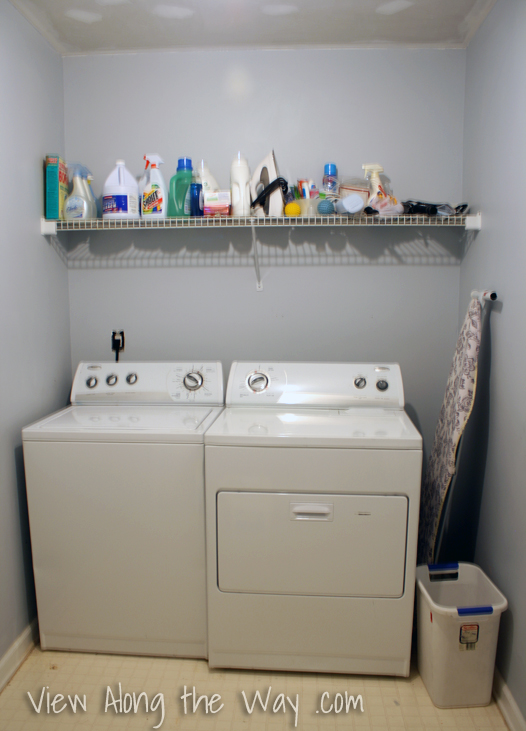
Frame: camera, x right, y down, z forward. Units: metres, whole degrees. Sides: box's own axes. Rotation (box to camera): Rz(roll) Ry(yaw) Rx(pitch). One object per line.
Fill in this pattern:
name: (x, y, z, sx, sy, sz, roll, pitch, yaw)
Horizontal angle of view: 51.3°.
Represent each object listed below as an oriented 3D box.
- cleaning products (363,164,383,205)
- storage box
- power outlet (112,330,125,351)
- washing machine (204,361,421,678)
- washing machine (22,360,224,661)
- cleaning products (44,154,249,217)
cleaning products: (0.415, -0.685, 2.092, 0.074, 0.167, 0.243, 1, 9, 11)
storage box: (0.574, 0.762, 1.745, 0.258, 0.436, 0.409, 0, -1, -1)
power outlet: (-0.619, -0.102, 2.345, 0.057, 0.084, 0.035, -3, 8, -15)
washing machine: (0.116, 0.467, 2.060, 0.751, 0.903, 0.798, 1, 9, -2)
washing machine: (-0.462, 0.519, 1.967, 0.597, 0.890, 0.468, 0, 8, 4)
cleaning products: (-0.420, -0.659, 2.059, 0.742, 0.232, 0.208, 0, 8, 2)
